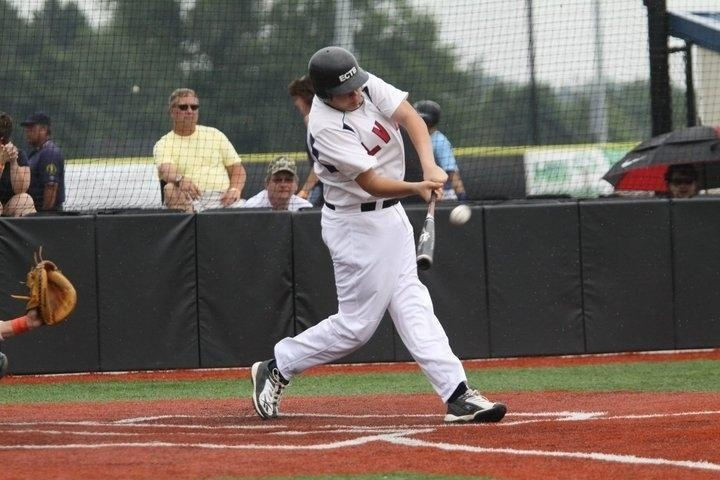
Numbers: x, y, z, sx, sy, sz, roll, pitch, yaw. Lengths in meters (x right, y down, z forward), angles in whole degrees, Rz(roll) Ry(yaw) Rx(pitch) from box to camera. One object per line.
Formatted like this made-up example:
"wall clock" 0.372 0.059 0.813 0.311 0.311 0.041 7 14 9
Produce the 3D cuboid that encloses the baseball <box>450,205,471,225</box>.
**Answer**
"baseball" 0.826 -0.202 11.139 0.131 0.150 0.129 34 0 -38

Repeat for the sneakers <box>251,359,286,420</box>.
"sneakers" -0.759 1.220 11.007 0.262 0.523 0.195 -20 -14 28

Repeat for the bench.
"bench" 0.298 -0.683 15.184 3.609 0.682 0.465 -2 -5 -27

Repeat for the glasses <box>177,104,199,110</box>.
"glasses" -1.673 -1.292 13.111 0.212 0.064 0.090 -4 3 -40

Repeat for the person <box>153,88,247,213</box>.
"person" -1.582 -0.881 13.204 0.823 1.165 0.322 -4 3 -34

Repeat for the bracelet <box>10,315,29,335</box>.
"bracelet" -2.905 0.724 11.446 0.145 0.133 0.136 -3 -7 31

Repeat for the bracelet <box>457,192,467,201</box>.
"bracelet" 1.011 -0.427 13.307 0.089 0.075 0.081 -1 9 -22

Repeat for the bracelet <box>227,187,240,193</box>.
"bracelet" -1.243 -0.487 13.195 0.053 0.030 0.129 0 3 41

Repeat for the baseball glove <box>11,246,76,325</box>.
"baseball glove" -2.769 0.420 11.554 0.506 0.590 0.286 -29 15 -33

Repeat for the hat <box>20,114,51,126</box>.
"hat" -3.195 -1.170 13.259 0.205 0.089 0.135 2 1 -9

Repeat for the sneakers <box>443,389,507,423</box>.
"sneakers" 0.905 1.336 10.730 0.226 0.265 0.611 12 -18 -43

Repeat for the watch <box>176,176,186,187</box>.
"watch" -1.738 -0.573 13.029 0.088 0.059 0.086 -10 -5 31
